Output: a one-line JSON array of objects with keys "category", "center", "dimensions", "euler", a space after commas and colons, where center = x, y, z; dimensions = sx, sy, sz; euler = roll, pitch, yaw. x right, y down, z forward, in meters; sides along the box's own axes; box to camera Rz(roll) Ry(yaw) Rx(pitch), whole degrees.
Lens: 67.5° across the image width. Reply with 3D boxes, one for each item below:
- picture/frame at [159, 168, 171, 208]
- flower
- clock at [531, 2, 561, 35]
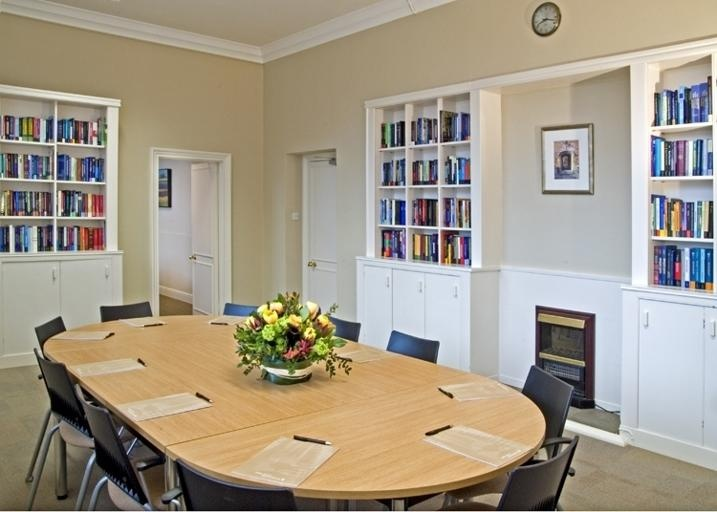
[{"category": "picture/frame", "center": [-3.797, -1.336, 10.484], "dimensions": [0.085, 0.914, 0.698], "euler": [4, -6, -38]}, {"category": "flower", "center": [-0.505, 0.491, 3.596], "dimensions": [0.628, 0.458, 0.637], "euler": [-1, 3, -21]}, {"category": "clock", "center": [1.803, -2.256, 5.137], "dimensions": [0.061, 0.276, 0.268], "euler": [-4, 32, -39]}]
